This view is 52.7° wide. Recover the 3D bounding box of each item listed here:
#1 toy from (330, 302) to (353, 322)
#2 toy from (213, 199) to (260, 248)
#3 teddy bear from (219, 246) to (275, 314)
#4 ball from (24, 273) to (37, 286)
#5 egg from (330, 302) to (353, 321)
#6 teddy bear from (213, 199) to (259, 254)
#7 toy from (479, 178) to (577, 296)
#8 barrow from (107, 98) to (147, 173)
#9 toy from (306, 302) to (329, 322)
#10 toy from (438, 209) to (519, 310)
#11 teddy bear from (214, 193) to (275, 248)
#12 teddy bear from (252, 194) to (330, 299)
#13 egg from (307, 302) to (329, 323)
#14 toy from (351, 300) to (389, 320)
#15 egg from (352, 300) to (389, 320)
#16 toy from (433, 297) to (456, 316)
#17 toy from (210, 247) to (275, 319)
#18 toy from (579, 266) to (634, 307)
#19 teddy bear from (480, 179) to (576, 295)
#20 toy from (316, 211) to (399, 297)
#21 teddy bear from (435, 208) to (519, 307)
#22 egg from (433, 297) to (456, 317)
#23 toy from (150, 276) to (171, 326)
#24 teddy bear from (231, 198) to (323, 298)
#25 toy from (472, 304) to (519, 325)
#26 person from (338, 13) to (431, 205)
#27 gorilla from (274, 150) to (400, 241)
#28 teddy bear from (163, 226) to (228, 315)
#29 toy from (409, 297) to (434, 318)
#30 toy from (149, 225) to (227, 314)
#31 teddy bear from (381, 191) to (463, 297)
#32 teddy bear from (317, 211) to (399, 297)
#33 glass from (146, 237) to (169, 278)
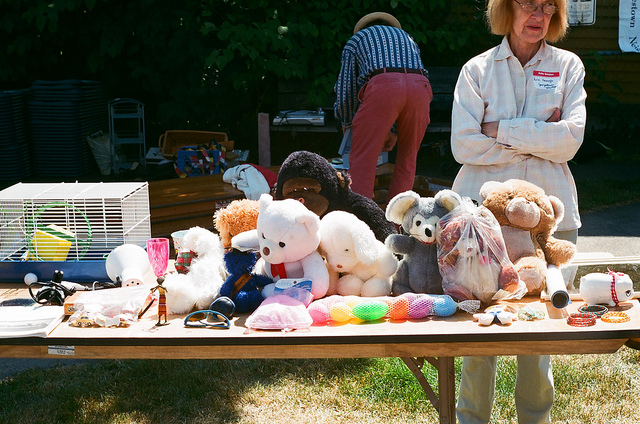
[{"bbox_3d":[0.127,0.586,3.839,0.114,0.097,0.092,7,17,8],"label":"toy"},{"bbox_3d":[-0.508,0.049,4.054,0.264,0.295,0.288,3,13,-1],"label":"toy"},{"bbox_3d":[-0.448,0.377,3.978,0.293,0.384,0.363,7,20,30],"label":"teddy bear"},{"bbox_3d":[-1.854,0.425,4.140,0.075,0.070,0.068,-3,20,1],"label":"ball"},{"bbox_3d":[0.122,0.587,3.839,0.108,0.091,0.088,3,15,6],"label":"egg"},{"bbox_3d":[-0.511,0.059,4.099,0.274,0.372,0.215,-5,-22,15],"label":"teddy bear"},{"bbox_3d":[1.246,0.129,4.042,0.637,0.674,0.453,11,4,22],"label":"toy"},{"bbox_3d":[-3.000,-1.216,10.046,0.585,1.087,0.963,-5,13,-15],"label":"barrow"},{"bbox_3d":[-0.008,0.581,3.831,0.112,0.093,0.091,22,28,14],"label":"toy"},{"bbox_3d":[0.924,0.298,3.858,0.379,0.499,0.287,-20,13,0],"label":"toy"},{"bbox_3d":[-0.483,0.013,4.159,0.297,0.369,0.347,2,10,6],"label":"teddy bear"},{"bbox_3d":[-0.181,0.207,3.923,0.455,0.626,0.176,-1,12,5],"label":"teddy bear"},{"bbox_3d":[-0.010,0.588,3.839,0.115,0.096,0.092,26,26,18],"label":"egg"},{"bbox_3d":[0.299,0.572,3.785,0.183,0.107,0.105,-3,44,-1],"label":"toy"},{"bbox_3d":[0.295,0.572,3.785,0.179,0.104,0.103,-2,48,-2],"label":"egg"},{"bbox_3d":[0.735,0.557,3.809,0.097,0.081,0.104,2,-5,-24],"label":"toy"},{"bbox_3d":[-0.484,0.421,3.881,0.269,0.438,0.292,0,0,5],"label":"toy"},{"bbox_3d":[1.712,0.452,3.880,0.248,0.178,0.190,2,-29,3],"label":"toy"},{"bbox_3d":[1.283,0.120,3.963,0.440,0.770,0.457,-1,1,10],"label":"teddy bear"},{"bbox_3d":[0.203,0.254,4.117,0.532,0.616,0.434,-1,25,26],"label":"toy"},{"bbox_3d":[0.915,0.288,3.861,0.415,0.511,0.256,-14,11,4],"label":"teddy bear"},{"bbox_3d":[0.737,0.558,3.807,0.099,0.083,0.106,1,-4,-23],"label":"egg"},{"bbox_3d":[-0.937,0.526,3.818,0.094,0.269,0.116,-5,13,-14],"label":"toy"},{"bbox_3d":[-0.198,0.217,3.894,0.405,0.577,0.248,-2,12,1],"label":"teddy bear"},{"bbox_3d":[1.030,0.599,3.779,0.259,0.074,0.132,-2,12,-3],"label":"toy"},{"bbox_3d":[0.603,-0.904,6.081,0.854,1.648,0.525,-3,12,-5],"label":"person"},{"bbox_3d":[0.111,0.017,4.458,0.815,0.917,0.549,2,-14,-36],"label":"gorilla"},{"bbox_3d":[-0.736,0.368,4.045,0.392,0.577,0.346,-1,-4,13],"label":"teddy bear"},{"bbox_3d":[0.594,0.558,3.801,0.121,0.070,0.107,-26,-3,-18],"label":"toy"},{"bbox_3d":[-0.773,0.374,4.028,0.432,0.588,0.383,-2,-3,21],"label":"toy"},{"bbox_3d":[0.649,0.198,4.017,0.520,0.714,0.306,1,23,3],"label":"teddy bear"},{"bbox_3d":[0.213,0.276,3.942,0.373,0.583,0.351,0,0,9],"label":"teddy bear"},{"bbox_3d":[-1.070,0.302,4.297,0.146,0.245,0.149,5,13,32],"label":"glass"}]
